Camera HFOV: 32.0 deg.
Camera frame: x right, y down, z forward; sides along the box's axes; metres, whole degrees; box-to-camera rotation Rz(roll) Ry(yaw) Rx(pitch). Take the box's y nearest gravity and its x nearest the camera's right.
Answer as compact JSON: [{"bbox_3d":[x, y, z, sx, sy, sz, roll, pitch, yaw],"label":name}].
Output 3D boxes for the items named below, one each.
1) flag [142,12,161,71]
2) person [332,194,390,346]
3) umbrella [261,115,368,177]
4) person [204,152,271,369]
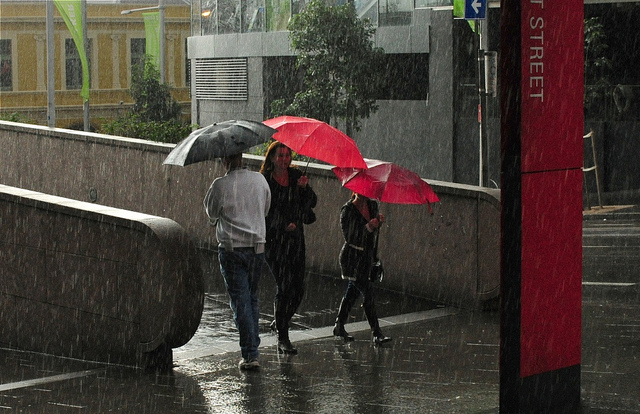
[{"bbox_3d":[-7.840,-7.733,52.744,0.944,3.412,0.254,-5,-27,-2],"label":"flag"},{"bbox_3d":[0.630,0.959,17.133,0.790,2.288,0.366,-1,3,1],"label":"person"},{"bbox_3d":[-0.014,-0.973,16.882,0.990,0.636,0.980,34,7,21],"label":"umbrella"},{"bbox_3d":[-1.151,0.784,16.373,0.920,3.134,0.427,-2,3,-4],"label":"person"}]
